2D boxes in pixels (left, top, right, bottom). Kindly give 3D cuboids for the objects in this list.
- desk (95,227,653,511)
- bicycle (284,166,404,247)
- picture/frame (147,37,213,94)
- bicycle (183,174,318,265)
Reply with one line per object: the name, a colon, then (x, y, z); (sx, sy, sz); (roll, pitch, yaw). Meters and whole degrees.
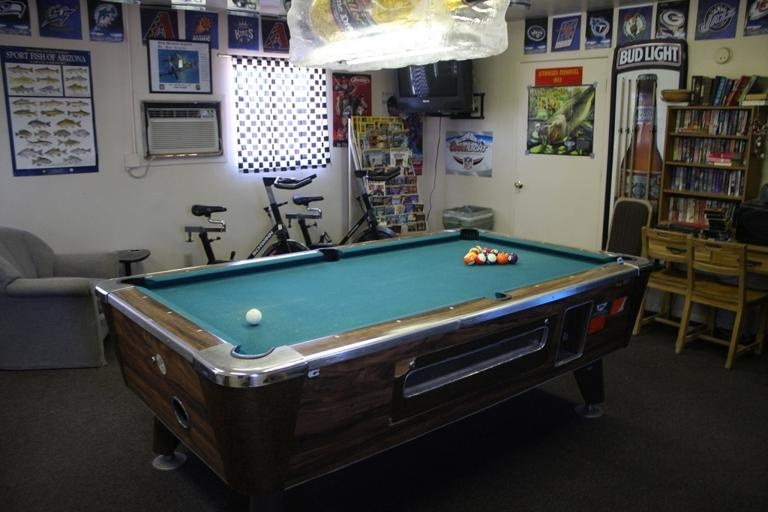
desk: (0.072, 0.567, 3.906); (3.625, 1.110, 1.670); (-11, 18, -28)
bicycle: (-0.637, -0.565, 6.837); (1.719, 1.202, 0.822); (-7, 17, -3)
picture/frame: (-2.350, -2.185, 6.050); (0.697, 0.555, 0.067); (-8, 19, -33)
bicycle: (-1.570, -0.543, 6.772); (1.691, 1.511, 0.911); (-7, 21, -15)
